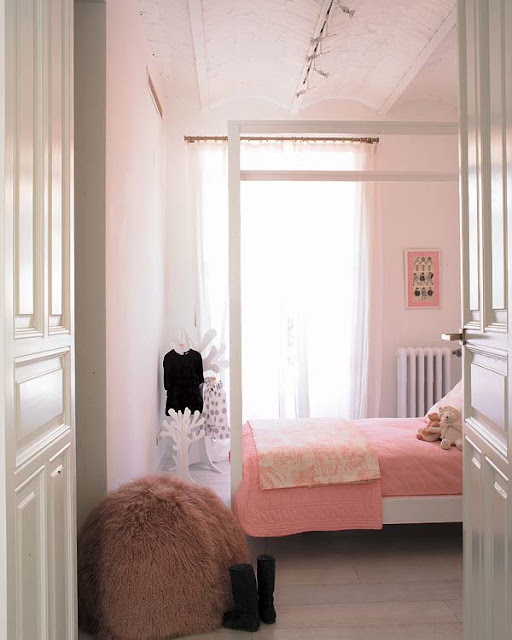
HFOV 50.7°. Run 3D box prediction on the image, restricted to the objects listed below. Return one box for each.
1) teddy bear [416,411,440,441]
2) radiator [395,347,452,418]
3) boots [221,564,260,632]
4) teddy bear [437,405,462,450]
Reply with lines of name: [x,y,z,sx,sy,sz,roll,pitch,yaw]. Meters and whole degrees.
teddy bear: [0.849,0.526,2.647,0.112,0.120,0.148,1,0,-3]
radiator: [1.284,0.512,4.112,0.324,0.598,0.085,-1,3,-15]
boots: [-0.058,0.942,1.837,0.133,0.220,0.103,0,-1,32]
teddy bear: [0.937,0.501,2.582,0.124,0.233,0.096,-7,15,13]
